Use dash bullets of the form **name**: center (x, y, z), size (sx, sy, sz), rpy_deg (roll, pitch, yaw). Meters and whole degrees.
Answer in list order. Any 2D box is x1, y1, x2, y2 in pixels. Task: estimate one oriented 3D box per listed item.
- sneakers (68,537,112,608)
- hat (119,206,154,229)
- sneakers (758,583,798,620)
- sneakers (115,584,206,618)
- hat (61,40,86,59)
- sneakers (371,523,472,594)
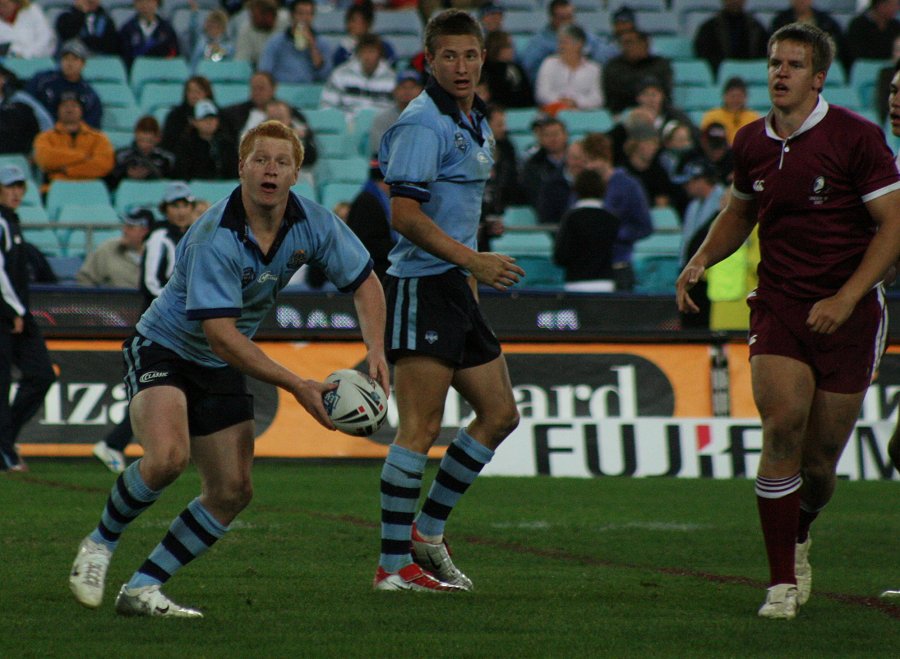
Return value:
- **sneakers**: center (-2.066, 1.390, 9.841), size (0.217, 0.389, 0.280), rpy_deg (1, 9, 2)
- **hat**: center (-2.609, -0.933, 14.258), size (0.230, 0.118, 0.159), rpy_deg (15, 10, 11)
- **sneakers**: center (1.913, 1.536, 9.859), size (0.292, 0.183, 0.191), rpy_deg (-3, 10, -19)
- **sneakers**: center (-1.675, 1.545, 9.879), size (0.537, 0.212, 0.187), rpy_deg (3, -5, -5)
- **hat**: center (-3.152, -2.338, 14.341), size (0.130, 0.151, 0.168), rpy_deg (0, -27, -5)
- **sneakers**: center (-0.176, 1.467, 10.350), size (0.619, 0.227, 0.205), rpy_deg (2, -4, -5)
